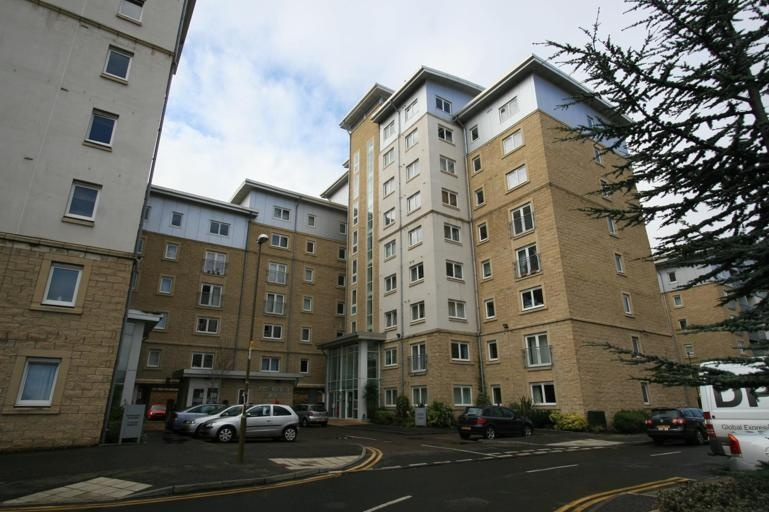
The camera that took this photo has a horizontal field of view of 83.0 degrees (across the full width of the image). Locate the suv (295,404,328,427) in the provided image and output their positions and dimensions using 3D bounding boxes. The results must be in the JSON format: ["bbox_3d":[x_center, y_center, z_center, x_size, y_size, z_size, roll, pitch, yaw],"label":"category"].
[{"bbox_3d":[-5.273,11.547,31.446,2.123,1.540,1.058,-12,-23,24],"label":"suv"}]

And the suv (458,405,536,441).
[{"bbox_3d":[5.812,8.838,23.131,3.491,1.615,1.192,7,-23,-23],"label":"suv"}]
